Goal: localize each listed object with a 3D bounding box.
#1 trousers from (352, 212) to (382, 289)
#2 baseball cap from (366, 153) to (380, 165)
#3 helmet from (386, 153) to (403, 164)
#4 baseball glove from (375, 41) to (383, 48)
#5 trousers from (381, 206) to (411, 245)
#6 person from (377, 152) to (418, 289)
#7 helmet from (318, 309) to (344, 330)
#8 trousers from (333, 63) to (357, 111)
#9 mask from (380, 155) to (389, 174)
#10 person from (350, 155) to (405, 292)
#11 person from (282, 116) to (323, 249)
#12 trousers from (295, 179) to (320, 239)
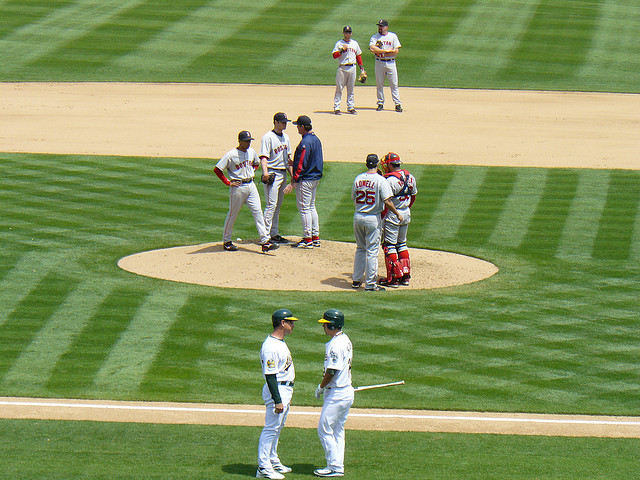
[{"bbox_3d":[1.097,0.260,33.840,0.627,1.819,0.570,3,9,1],"label":"trousers"},{"bbox_3d":[1.228,-1.811,33.516,0.243,0.223,0.466,3,7,3],"label":"baseball cap"},{"bbox_3d":[1.725,-1.854,34.009,0.326,0.218,0.325,2,8,2],"label":"helmet"},{"bbox_3d":[1.852,-5.968,45.380,0.235,0.191,0.091,7,10,32],"label":"baseball glove"},{"bbox_3d":[1.773,-0.306,34.134,0.615,0.854,0.420,3,9,2],"label":"trousers"},{"bbox_3d":[1.874,-0.509,34.404,1.239,2.776,0.842,10,22,7],"label":"person"},{"bbox_3d":[0.225,1.522,28.195,0.493,0.264,0.349,4,-1,9],"label":"helmet"},{"bbox_3d":[0.821,-4.737,46.138,0.647,1.503,1.363,3,8,1],"label":"trousers"},{"bbox_3d":[1.498,-1.714,34.245,0.329,0.344,0.223,1,6,8],"label":"mask"},{"bbox_3d":[1.209,-0.343,33.746,0.916,3.187,0.587,3,9,0],"label":"person"},{"bbox_3d":[-0.465,-1.410,35.867,1.395,3.031,1.183,4,7,27],"label":"person"},{"bbox_3d":[-0.279,-0.735,35.712,0.571,1.440,0.455,4,9,4],"label":"trousers"}]
